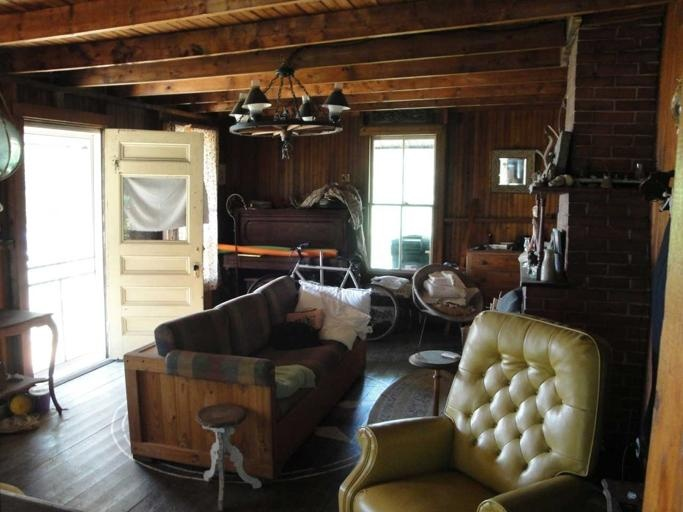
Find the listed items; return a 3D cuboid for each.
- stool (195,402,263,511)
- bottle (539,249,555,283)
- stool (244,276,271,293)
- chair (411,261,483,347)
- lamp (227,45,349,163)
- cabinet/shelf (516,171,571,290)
[{"bbox_3d":[-0.864,1.406,4.129,0.416,0.646,0.425,11,15,40],"label":"stool"},{"bbox_3d":[1.687,0.072,4.604,0.118,0.263,0.259,5,12,19],"label":"bottle"},{"bbox_3d":[-1.226,0.395,8.209,0.372,0.140,0.341,-2,-1,40],"label":"stool"},{"bbox_3d":[1.248,0.591,7.246,1.007,1.004,1.006,2,2,-13],"label":"chair"},{"bbox_3d":[-0.537,-1.618,5.950,1.164,0.869,1.142,-12,19,-34],"label":"lamp"},{"bbox_3d":[1.900,-0.240,5.346,0.341,1.133,1.999,4,12,17],"label":"cabinet/shelf"}]
